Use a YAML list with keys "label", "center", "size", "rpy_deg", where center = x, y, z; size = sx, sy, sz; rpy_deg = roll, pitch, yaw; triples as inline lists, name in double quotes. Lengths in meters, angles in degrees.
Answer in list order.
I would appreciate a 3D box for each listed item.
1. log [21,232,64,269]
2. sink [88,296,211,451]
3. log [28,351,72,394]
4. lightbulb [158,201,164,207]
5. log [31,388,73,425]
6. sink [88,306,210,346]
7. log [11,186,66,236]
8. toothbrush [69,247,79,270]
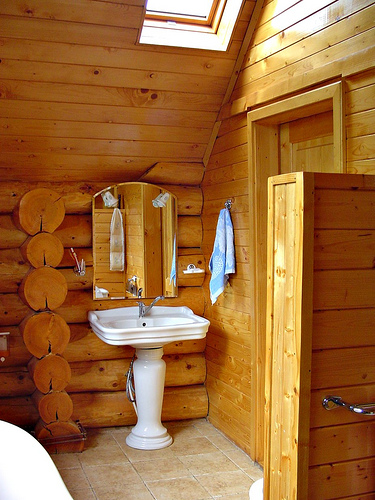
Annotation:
- label: "log"
  center: [-0.968, 0.002, 2.930]
  size: [0.274, 0.237, 0.172]
  rpy_deg: [-5, 6, -24]
- label: "sink"
  center: [-0.282, 0.909, 3.243]
  size: [0.967, 0.974, 0.778]
  rpy_deg: [2, -5, -13]
- label: "log"
  center: [-0.927, 0.842, 3.021]
  size: [0.275, 0.270, 0.275]
  rpy_deg: [-9, -17, 43]
- label: "lightbulb"
  center: [-0.213, -0.366, 3.451]
  size: [0.051, 0.019, 0.063]
  rpy_deg: [9, -3, -3]
- label: "log"
  center: [-0.915, 1.025, 2.923]
  size: [0.226, 0.232, 0.295]
  rpy_deg: [3, -5, -16]
- label: "sink"
  center: [-0.279, 0.554, 3.176]
  size: [0.806, 0.184, 0.659]
  rpy_deg: [-1, 2, -20]
- label: "log"
  center: [-0.997, -0.268, 2.944]
  size: [0.364, 0.315, 0.114]
  rpy_deg: [-2, 9, -32]
- label: "toothbrush"
  center: [-0.838, 0.054, 3.242]
  size: [0.024, 0.147, 0.019]
  rpy_deg: [-15, 13, 26]
